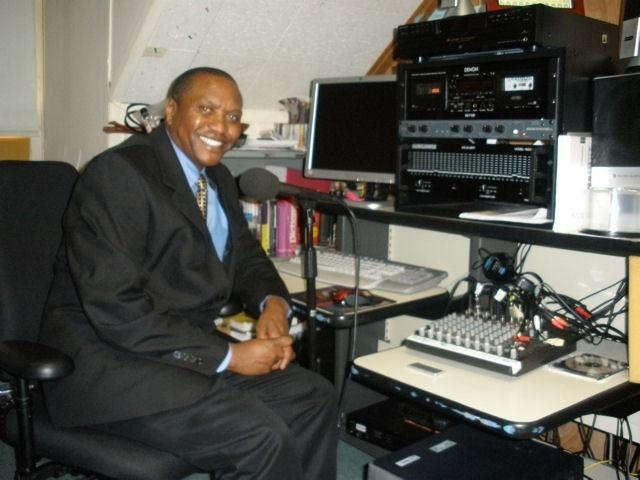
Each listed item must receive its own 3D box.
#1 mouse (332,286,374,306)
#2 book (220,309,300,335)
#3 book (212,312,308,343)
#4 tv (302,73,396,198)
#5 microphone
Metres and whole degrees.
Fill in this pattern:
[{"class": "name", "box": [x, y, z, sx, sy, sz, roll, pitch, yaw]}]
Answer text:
[{"class": "mouse", "box": [0.118, 0.213, 2.043, 0.115, 0.031, 0.073, 7, 11, -15]}, {"class": "book", "box": [-0.309, 0.383, 2.574, 0.269, 0.079, 0.197, -7, 13, -44]}, {"class": "book", "box": [-0.285, 0.392, 2.569, 0.286, 0.085, 0.215, -6, 14, -37]}, {"class": "tv", "box": [0.149, -0.477, 2.566, 0.685, 0.539, 0.051, 6, 9, 42]}, {"class": "microphone", "box": [-0.090, -0.149, 1.827, 0.323, 0.090, 0.119, 19, -8, -13]}]
